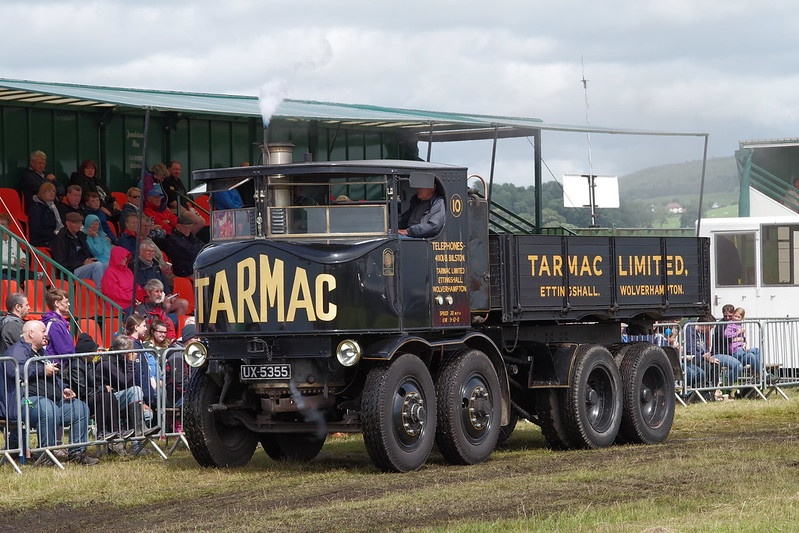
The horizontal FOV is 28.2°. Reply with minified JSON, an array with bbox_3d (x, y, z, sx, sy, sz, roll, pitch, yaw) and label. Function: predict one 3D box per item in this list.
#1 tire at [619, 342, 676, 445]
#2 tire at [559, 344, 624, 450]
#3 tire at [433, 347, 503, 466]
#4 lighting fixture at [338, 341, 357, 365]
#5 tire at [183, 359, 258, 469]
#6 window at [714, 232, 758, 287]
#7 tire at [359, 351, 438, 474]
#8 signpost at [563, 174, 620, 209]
[{"bbox_3d":[4.191,2.189,27.187,0.614,1.746,1.660,-3,0,41],"label":"tire"},{"bbox_3d":[3.128,2.171,26.407,1.674,1.821,0.633,-3,2,-44],"label":"tire"},{"bbox_3d":[1.028,2.173,24.836,0.643,1.973,1.733,-6,-7,43],"label":"tire"},{"bbox_3d":[-0.771,1.281,23.840,0.290,0.281,0.214,13,6,36],"label":"lighting fixture"},{"bbox_3d":[-2.770,2.240,24.671,0.522,1.637,1.506,-11,-14,39],"label":"tire"},{"bbox_3d":[7.338,-0.196,34.618,1.179,1.524,0.071,-1,2,19],"label":"window"},{"bbox_3d":[-0.035,2.182,24.096,1.747,1.967,0.624,4,-7,-42],"label":"tire"},{"bbox_3d":[3.490,-1.384,29.014,1.044,0.624,0.110,1,15,26],"label":"signpost"}]
